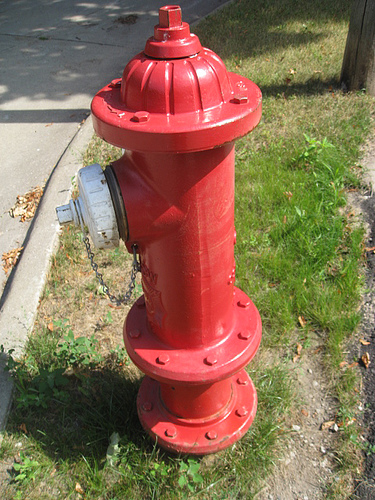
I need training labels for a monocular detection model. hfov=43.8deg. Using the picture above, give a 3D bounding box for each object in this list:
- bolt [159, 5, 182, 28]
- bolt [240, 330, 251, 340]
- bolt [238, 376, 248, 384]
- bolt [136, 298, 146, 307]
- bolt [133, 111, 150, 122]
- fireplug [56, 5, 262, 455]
[{"bbox_3d":[-0.055,-0.633,1.280,0.068,0.060,0.080,5,37,10],"label":"bolt"},{"bbox_3d":[0.223,0.324,1.789,0.029,0.007,0.029,7,38,17],"label":"bolt"},{"bbox_3d":[0.269,0.628,2.256,0.030,0.007,0.031,-14,31,14],"label":"bolt"},{"bbox_3d":[-0.204,0.232,2.046,0.057,0.014,0.056,-3,11,2],"label":"bolt"},{"bbox_3d":[-0.117,-0.348,1.217,0.043,0.015,0.059,10,36,22],"label":"bolt"},{"bbox_3d":[-0.054,0.093,1.681,0.648,1.699,0.528,-1,31,7],"label":"fireplug"}]
